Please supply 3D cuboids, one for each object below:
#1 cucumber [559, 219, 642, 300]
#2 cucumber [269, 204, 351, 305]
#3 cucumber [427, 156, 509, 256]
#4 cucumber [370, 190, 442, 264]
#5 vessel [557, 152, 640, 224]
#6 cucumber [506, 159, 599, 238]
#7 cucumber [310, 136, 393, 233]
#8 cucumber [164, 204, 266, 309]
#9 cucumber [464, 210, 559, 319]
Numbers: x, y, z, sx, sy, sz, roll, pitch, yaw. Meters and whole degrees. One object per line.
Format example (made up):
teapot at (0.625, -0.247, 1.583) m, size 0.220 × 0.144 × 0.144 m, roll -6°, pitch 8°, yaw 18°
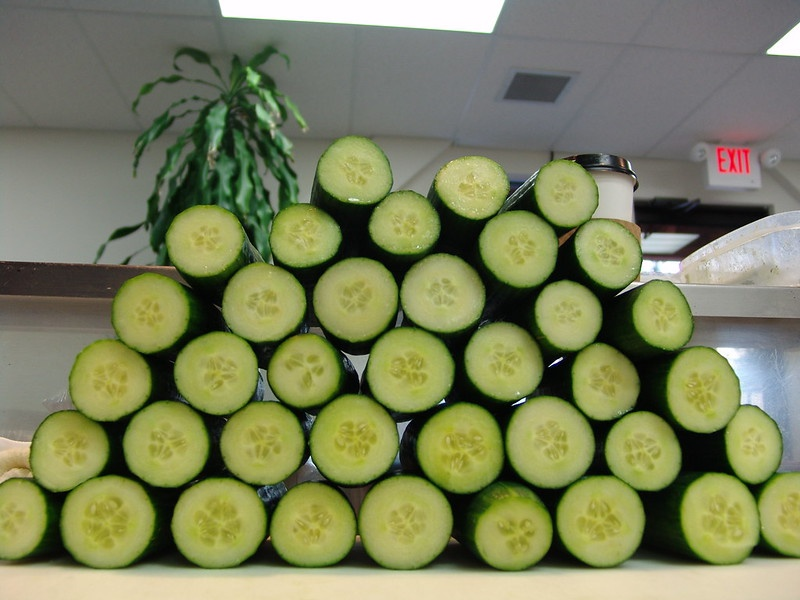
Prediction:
cucumber at (0.317, -0.070, 1.176) m, size 0.122 × 0.126 × 0.118 m, roll -25°, pitch 89°, yaw -3°
cucumber at (-0.145, -0.086, 1.153) m, size 0.113 × 0.115 × 0.104 m, roll -17°, pitch 71°, yaw -2°
cucumber at (0.106, -0.159, 1.195) m, size 0.141 × 0.155 × 0.138 m, roll 18°, pitch 81°, yaw 1°
cucumber at (0.004, -0.110, 1.114) m, size 0.108 × 0.080 × 0.097 m, roll 22°, pitch 56°, yaw 0°
vessel at (0.415, -0.227, 1.482) m, size 0.156 × 0.156 × 0.146 m, roll 1°, pitch 73°, yaw 0°
cucumber at (0.231, -0.148, 1.192) m, size 0.131 × 0.145 × 0.127 m, roll -28°, pitch 91°, yaw 17°
cucumber at (-0.073, -0.184, 1.179) m, size 0.129 × 0.138 × 0.125 m, roll 8°, pitch 89°, yaw -1°
cucumber at (-0.273, -0.078, 1.109) m, size 0.131 × 0.207 × 0.136 m, roll -3°, pitch 81°, yaw -1°
cucumber at (0.176, -0.066, 1.178) m, size 0.137 × 0.143 × 0.126 m, roll -13°, pitch 75°, yaw -4°
